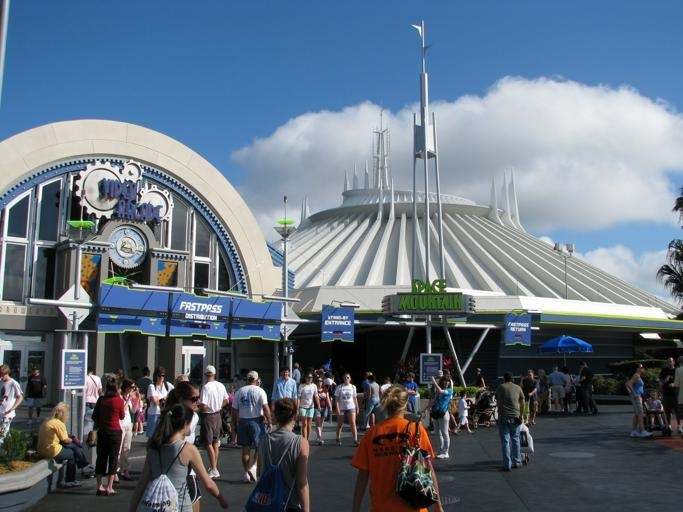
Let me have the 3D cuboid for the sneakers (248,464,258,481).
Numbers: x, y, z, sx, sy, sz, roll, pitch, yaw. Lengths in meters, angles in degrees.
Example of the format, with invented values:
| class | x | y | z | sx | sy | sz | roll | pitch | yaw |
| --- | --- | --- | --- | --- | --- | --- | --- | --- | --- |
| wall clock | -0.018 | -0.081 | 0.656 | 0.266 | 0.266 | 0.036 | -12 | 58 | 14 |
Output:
| class | x | y | z | sx | sy | sz | roll | pitch | yaw |
| --- | --- | --- | --- | --- | --- | --- | --- | --- | --- |
| sneakers | -2.051 | 4.981 | 16.876 | 0.140 | 0.372 | 0.249 | -1 | 32 | 3 |

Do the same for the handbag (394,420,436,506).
| class | x | y | z | sx | sy | sz | roll | pitch | yaw |
| --- | --- | --- | --- | --- | --- | --- | --- | --- | --- |
| handbag | 1.127 | 3.123 | 10.978 | 0.625 | 1.271 | 0.297 | -1 | -9 | -1 |

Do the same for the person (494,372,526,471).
| class | x | y | z | sx | sy | sz | roll | pitch | yaw |
| --- | --- | --- | --- | --- | --- | --- | --- | --- | --- |
| person | 4.141 | 3.970 | 17.683 | 0.641 | 2.300 | 0.958 | -3 | -9 | 14 |

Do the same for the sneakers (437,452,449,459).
| class | x | y | z | sx | sy | sz | roll | pitch | yaw |
| --- | --- | --- | --- | --- | --- | --- | --- | --- | --- |
| sneakers | 2.721 | 5.301 | 19.470 | 0.328 | 0.153 | 0.117 | 2 | -6 | -1 |

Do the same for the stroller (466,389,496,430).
| class | x | y | z | sx | sy | sz | roll | pitch | yaw |
| --- | --- | --- | --- | --- | --- | --- | --- | --- | --- |
| stroller | 5.175 | 5.503 | 26.522 | 0.641 | 1.066 | 1.845 | -2 | -24 | 4 |

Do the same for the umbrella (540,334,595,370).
| class | x | y | z | sx | sy | sz | roll | pitch | yaw |
| --- | --- | --- | --- | --- | --- | --- | --- | --- | --- |
| umbrella | 11.286 | 4.260 | 35.128 | 2.569 | 1.915 | 2.690 | 4 | -5 | -27 |
